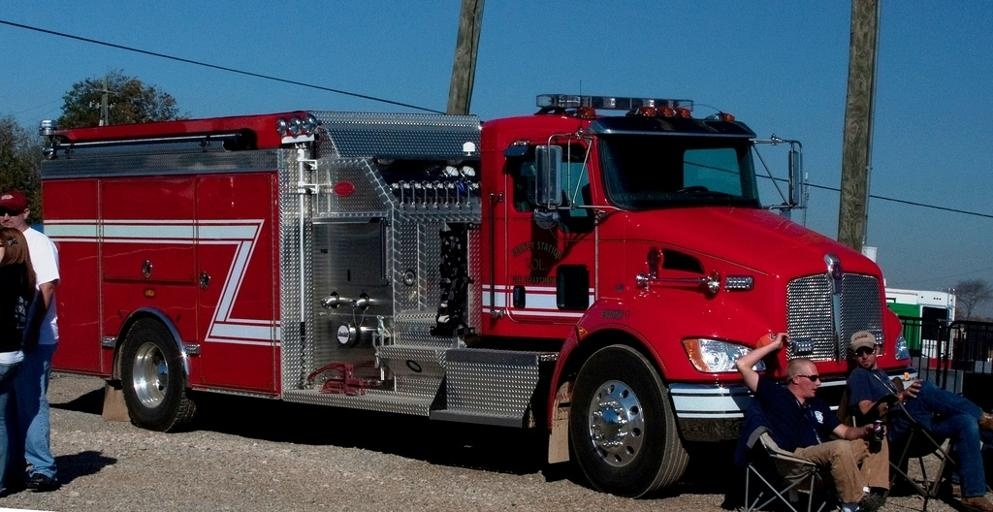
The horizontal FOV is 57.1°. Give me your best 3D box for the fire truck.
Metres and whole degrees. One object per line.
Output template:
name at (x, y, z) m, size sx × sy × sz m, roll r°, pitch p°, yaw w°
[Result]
fire truck at (-1.270, 0.314, 14.323) m, size 11.822 × 4.470 × 5.286 m, roll -1°, pitch -2°, yaw 36°
